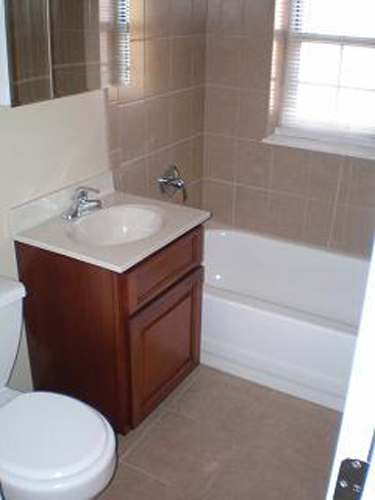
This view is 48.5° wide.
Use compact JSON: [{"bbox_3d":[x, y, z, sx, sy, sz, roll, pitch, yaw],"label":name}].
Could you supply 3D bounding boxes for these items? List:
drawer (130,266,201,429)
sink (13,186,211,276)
[{"bbox_3d":[-0.104,0.431,1.860,0.306,0.580,0.504,10,25,24],"label":"drawer"},{"bbox_3d":[-0.293,-0.088,1.805,0.547,0.186,0.689,17,30,28],"label":"sink"}]
